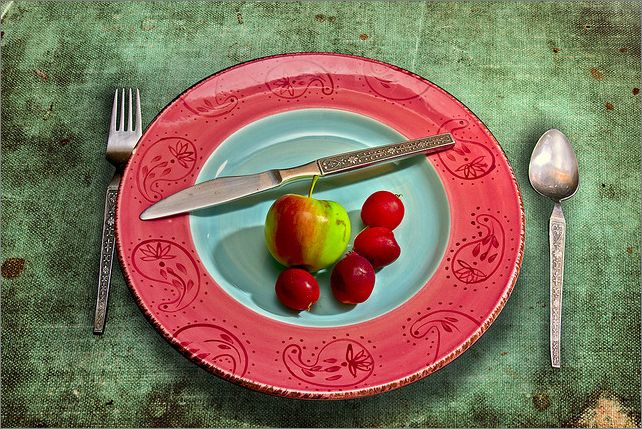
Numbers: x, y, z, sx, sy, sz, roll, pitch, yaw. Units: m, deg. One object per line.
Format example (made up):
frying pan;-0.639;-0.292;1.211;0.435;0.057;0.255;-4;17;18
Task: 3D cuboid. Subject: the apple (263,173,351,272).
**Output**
apple;-0.047;0.020;2.025;0.236;0.263;0.276;5;97;-4

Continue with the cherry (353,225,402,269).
cherry;0.157;0.090;1.979;0.150;0.120;0.131;-4;108;10

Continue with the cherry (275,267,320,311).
cherry;-0.063;0.205;1.915;0.117;0.095;0.097;26;118;30

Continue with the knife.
knife;-0.077;-0.105;2.011;0.987;0.051;0.125;-10;68;-6

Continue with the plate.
plate;0.002;-0.012;1.945;1.153;0.244;1.021;11;83;-1

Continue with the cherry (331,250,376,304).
cherry;0.088;0.181;1.903;0.129;0.077;0.125;-39;86;-5

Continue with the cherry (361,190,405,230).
cherry;0.181;-0.007;2.017;0.118;0.129;0.135;-5;81;19
